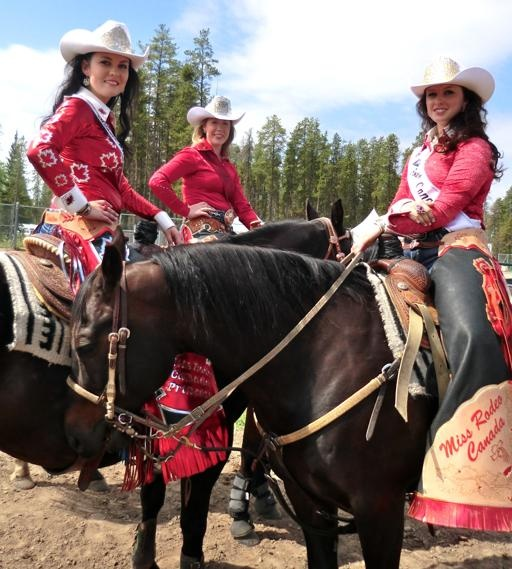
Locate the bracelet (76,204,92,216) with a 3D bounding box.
[{"bbox_3d":[-0.800,-0.347,2.382,0.062,0.046,0.054,-7,-21,-7],"label":"bracelet"}]

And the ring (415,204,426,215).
[{"bbox_3d":[0.705,-0.323,2.195,0.031,0.038,0.015,-7,-43,20],"label":"ring"}]

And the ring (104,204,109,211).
[{"bbox_3d":[-0.724,-0.375,2.479,0.020,0.018,0.006,27,-23,-20],"label":"ring"}]
